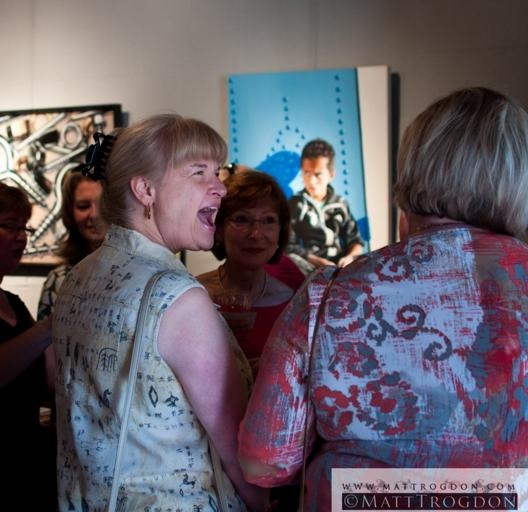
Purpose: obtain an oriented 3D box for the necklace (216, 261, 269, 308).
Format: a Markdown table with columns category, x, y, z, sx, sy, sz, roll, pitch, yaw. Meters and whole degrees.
| category | x | y | z | sx | sy | sz | roll | pitch | yaw |
| --- | --- | --- | --- | --- | --- | --- | --- | --- | --- |
| necklace | -0.092 | 0.135 | 2.383 | 0.136 | 0.213 | 0.073 | 2 | -5 | 8 |
